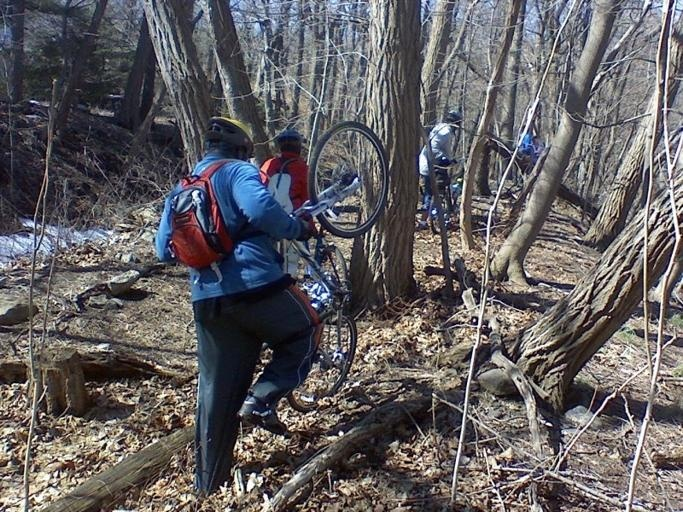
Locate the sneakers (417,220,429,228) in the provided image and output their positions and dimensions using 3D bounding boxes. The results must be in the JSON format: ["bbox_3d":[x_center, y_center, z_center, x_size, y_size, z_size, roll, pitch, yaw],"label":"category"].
[{"bbox_3d":[1.630,-0.614,12.710,0.156,0.167,0.170,-6,2,-3],"label":"sneakers"}]

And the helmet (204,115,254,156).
[{"bbox_3d":[-1.141,-1.261,6.758,0.346,0.267,0.470,22,0,38],"label":"helmet"}]

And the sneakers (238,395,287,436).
[{"bbox_3d":[-0.826,1.665,6.572,0.262,0.655,0.259,-17,60,22],"label":"sneakers"}]

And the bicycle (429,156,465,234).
[{"bbox_3d":[2.026,-1.112,12.380,0.468,1.249,1.571,8,47,12],"label":"bicycle"}]
